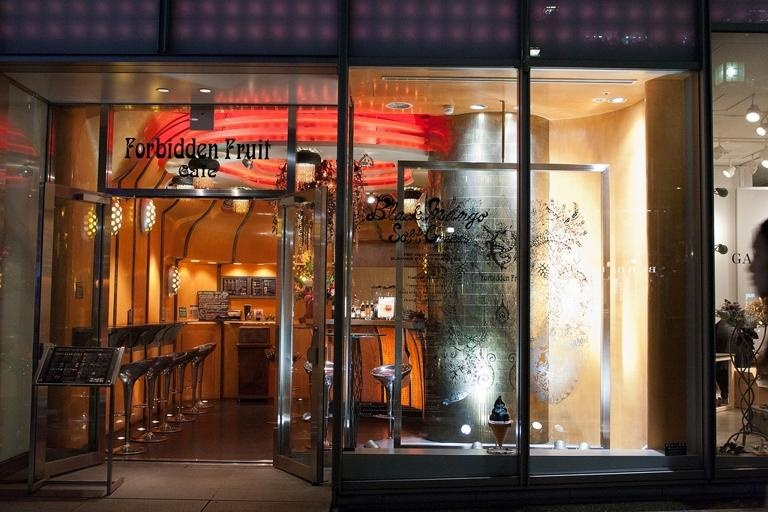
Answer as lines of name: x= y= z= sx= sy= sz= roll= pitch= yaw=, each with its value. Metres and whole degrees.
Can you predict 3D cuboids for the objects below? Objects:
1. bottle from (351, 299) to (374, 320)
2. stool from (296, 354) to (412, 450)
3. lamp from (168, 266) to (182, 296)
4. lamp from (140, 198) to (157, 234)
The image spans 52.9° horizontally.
bottle: x=-0.238 y=0.554 z=8.174 sx=0.230 sy=0.196 sz=0.074 roll=1 pitch=6 yaw=-8
stool: x=-0.231 y=1.797 z=8.352 sx=1.514 sy=0.905 sz=0.779 roll=1 pitch=-16 yaw=-3
lamp: x=-3.435 y=0.400 z=12.626 sx=0.167 sy=0.528 sz=0.507 roll=-7 pitch=-4 yaw=3
lamp: x=-3.461 y=-0.601 z=11.311 sx=0.142 sy=0.488 sz=0.395 roll=1 pitch=-8 yaw=-5
